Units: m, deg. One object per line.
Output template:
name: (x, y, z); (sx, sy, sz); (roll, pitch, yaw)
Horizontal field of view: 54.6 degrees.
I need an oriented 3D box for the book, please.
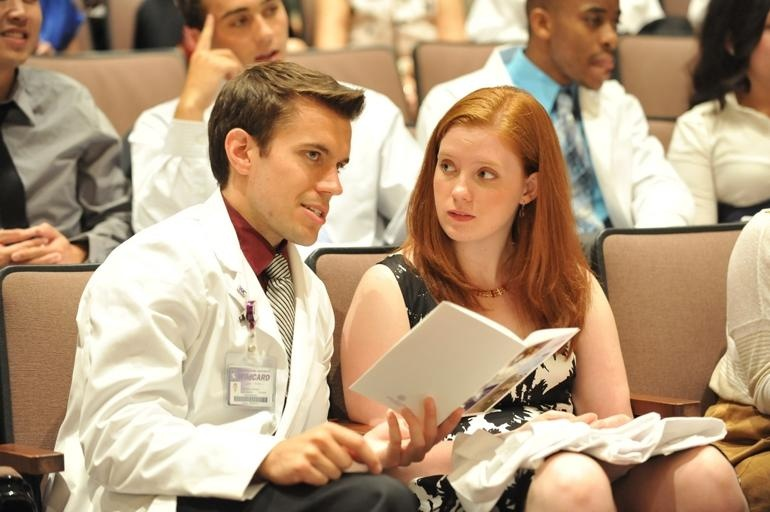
book: (0.136, 0.256, 1.746); (0.482, 0.322, 0.112); (16, 37, -43)
